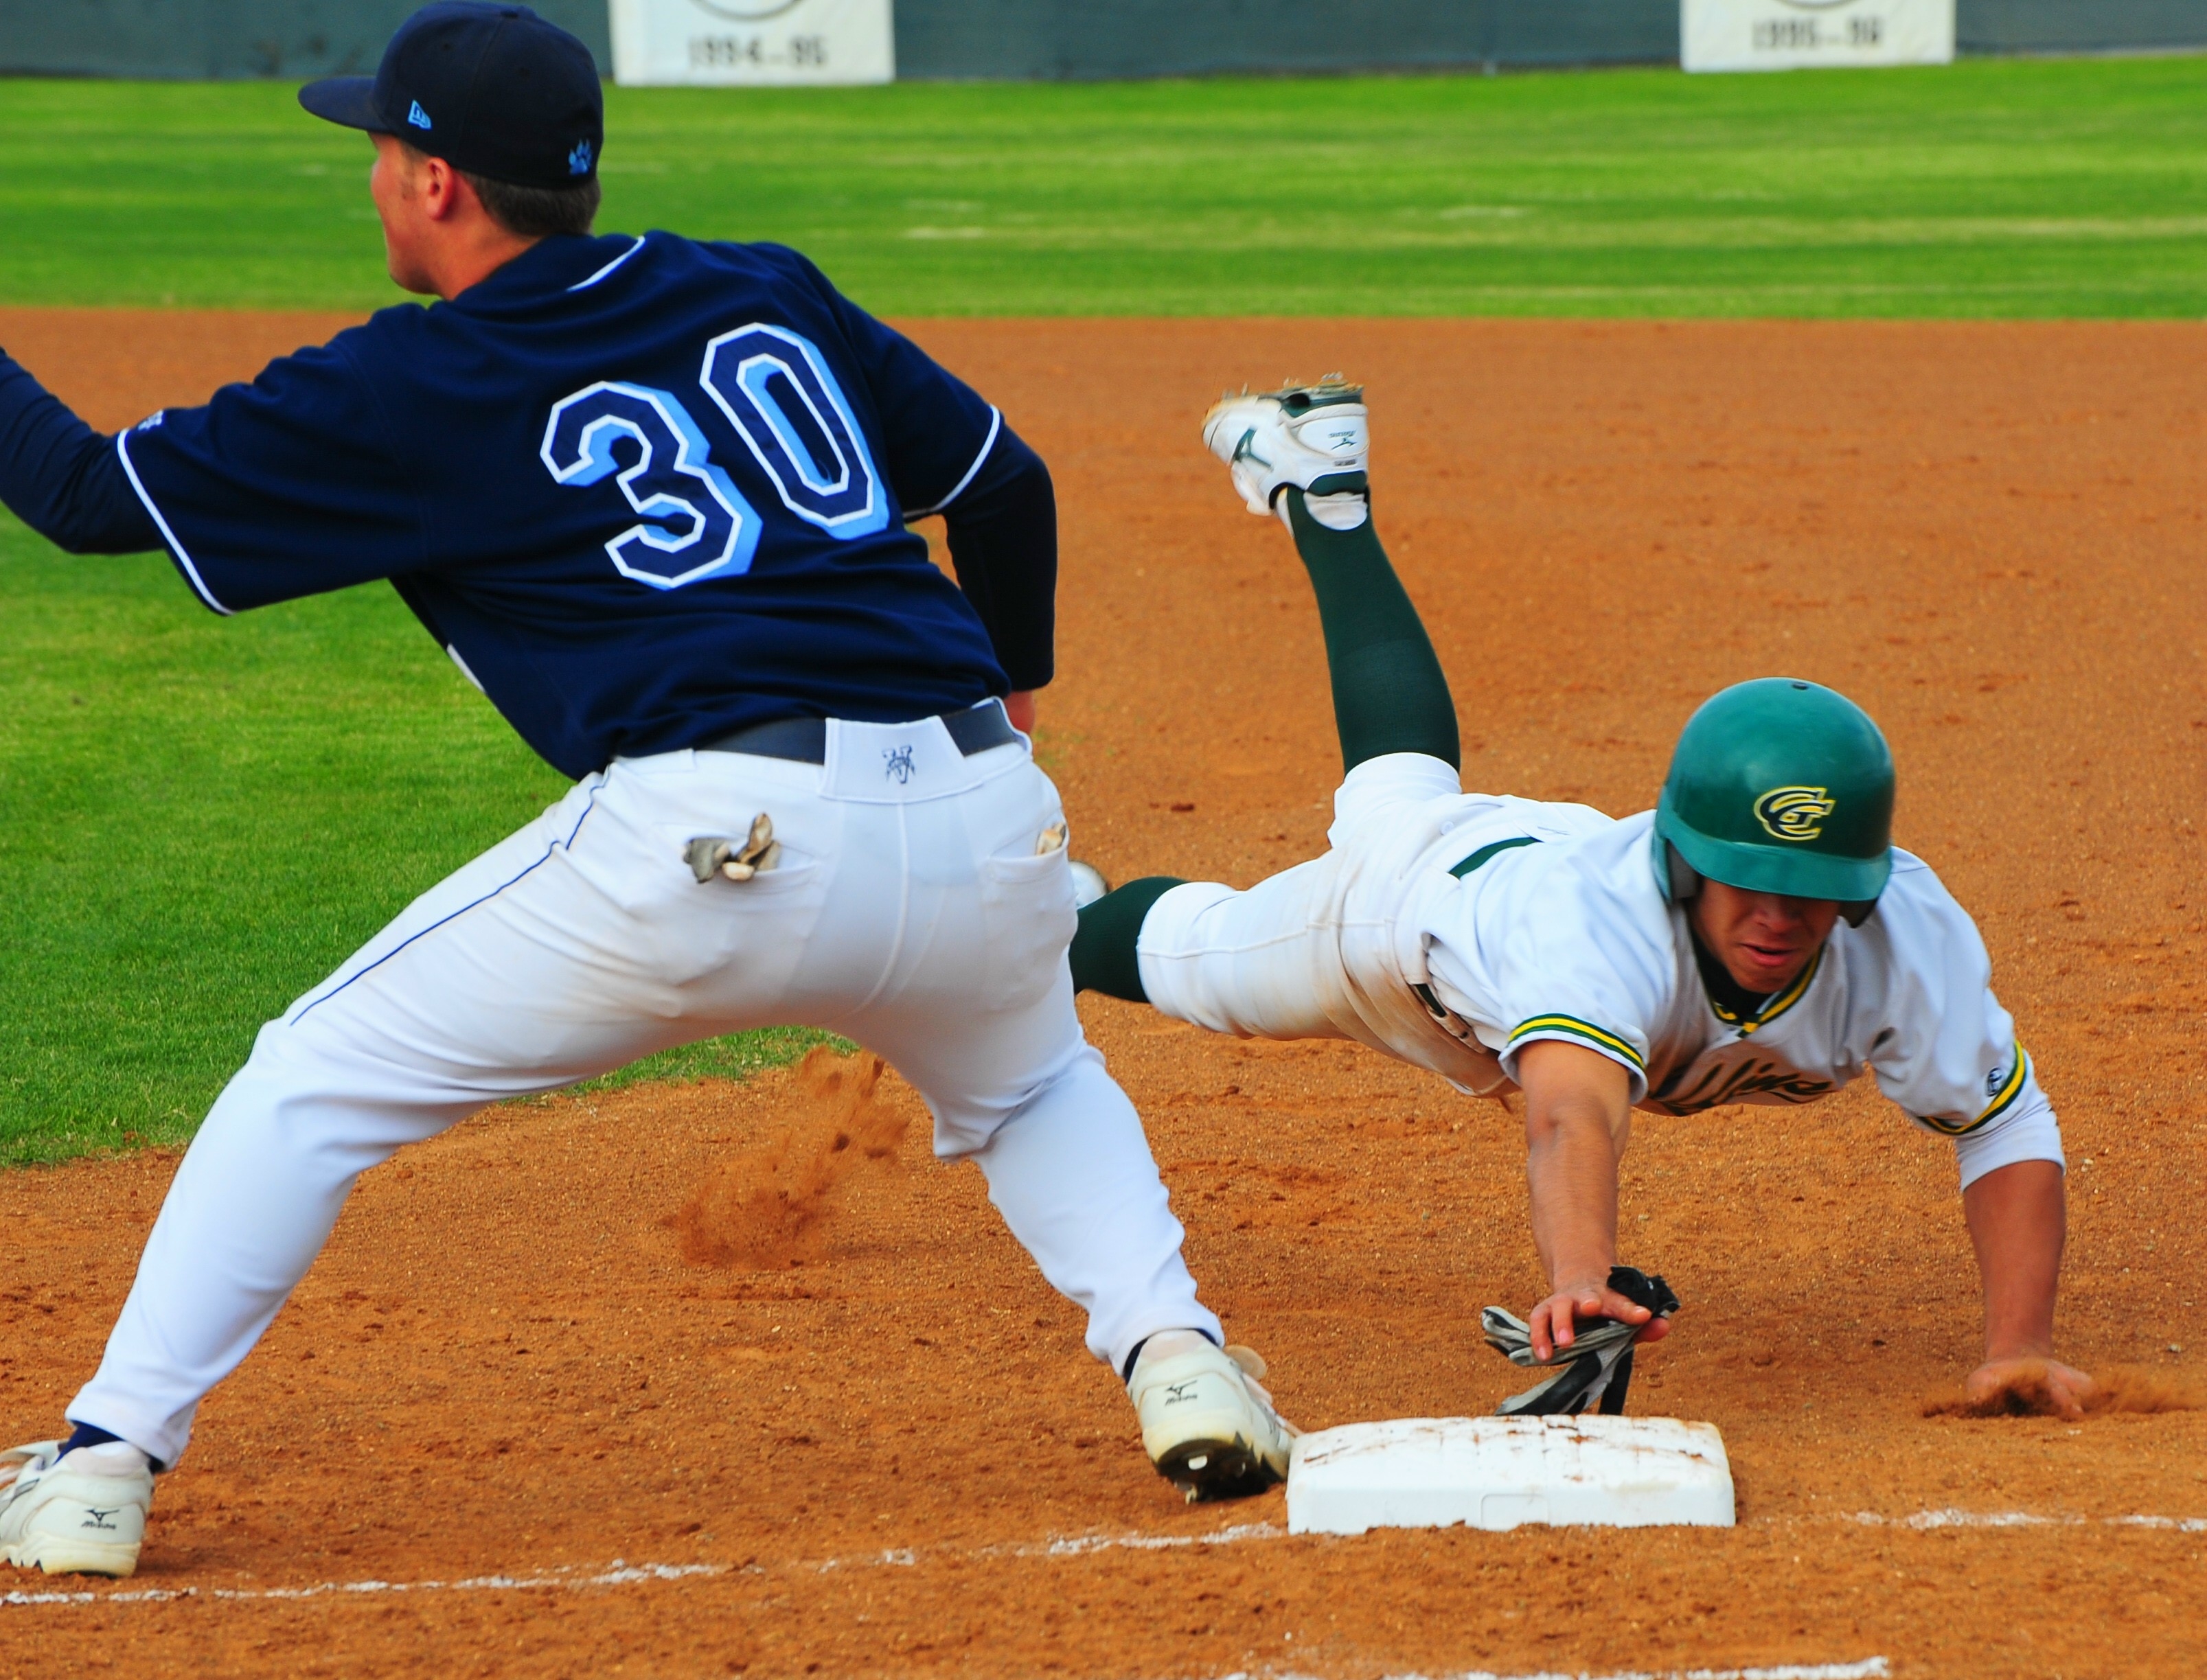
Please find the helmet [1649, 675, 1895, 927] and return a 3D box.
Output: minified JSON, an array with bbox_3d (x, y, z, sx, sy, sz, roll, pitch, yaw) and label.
[{"bbox_3d":[1.221,-0.120,6.844,0.477,0.302,0.549,4,32,-4],"label":"helmet"}]
